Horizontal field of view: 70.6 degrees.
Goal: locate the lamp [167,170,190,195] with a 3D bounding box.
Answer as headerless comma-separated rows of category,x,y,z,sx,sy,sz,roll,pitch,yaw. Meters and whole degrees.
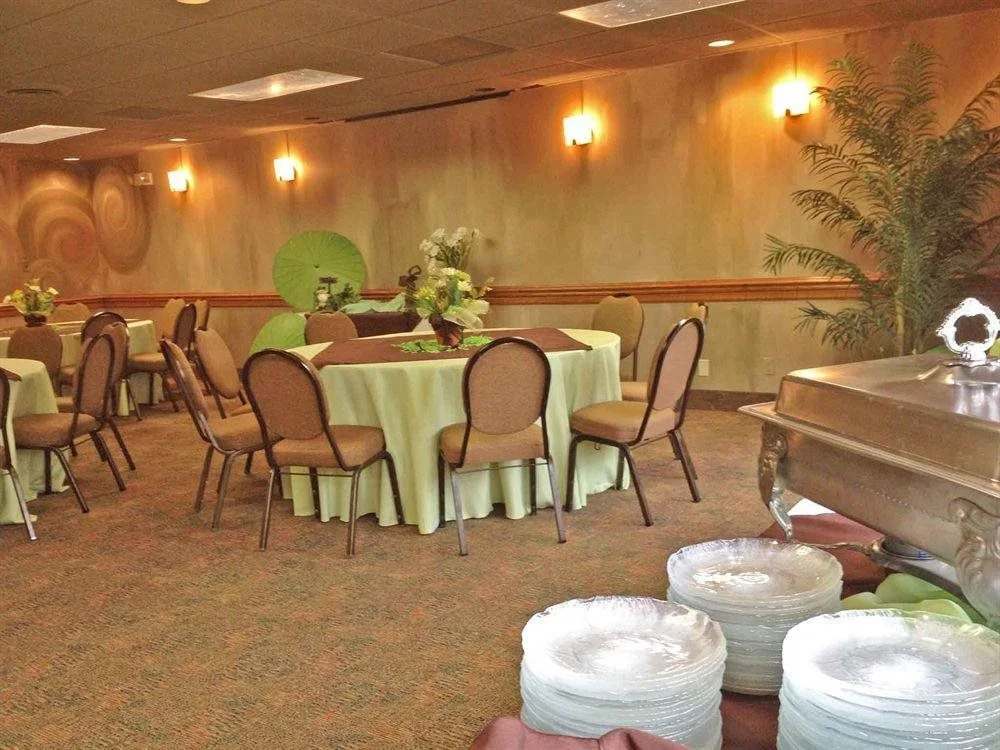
lamp,-3.979,-2.385,8.773,0.334,0.256,0.284,0,19,-6

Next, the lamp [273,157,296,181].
lamp,-2.425,-2.325,7.941,0.292,0.234,0.186,7,24,17

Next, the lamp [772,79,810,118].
lamp,2.188,-2.045,5.358,0.318,0.253,0.286,3,-10,25

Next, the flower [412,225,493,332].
flower,-0.298,-0.492,4.286,0.628,0.690,0.540,1,11,-10

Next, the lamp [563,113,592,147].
lamp,0.677,-2.117,6.125,0.316,0.245,0.276,2,18,9
